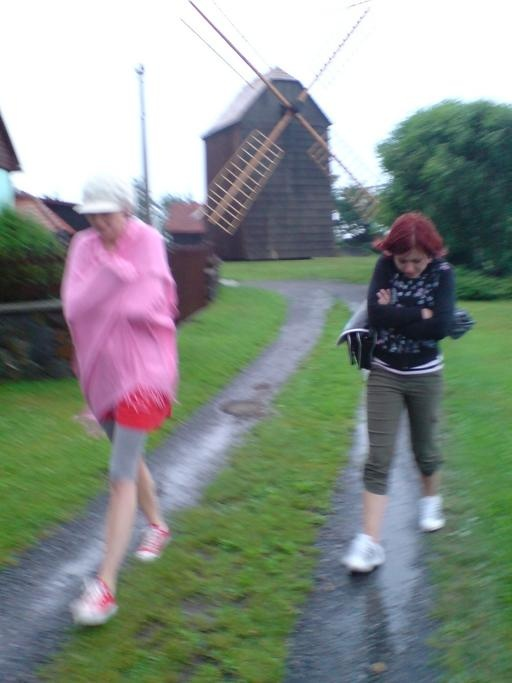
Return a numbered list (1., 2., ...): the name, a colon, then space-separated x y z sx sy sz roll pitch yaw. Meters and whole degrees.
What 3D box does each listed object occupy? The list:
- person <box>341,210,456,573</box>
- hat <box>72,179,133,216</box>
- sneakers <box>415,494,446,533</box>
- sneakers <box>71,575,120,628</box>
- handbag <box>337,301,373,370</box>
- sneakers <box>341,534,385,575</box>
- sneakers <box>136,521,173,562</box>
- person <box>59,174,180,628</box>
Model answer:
1. person: 0.672 0.236 2.754 0.441 1.643 0.538 1 11 19
2. hat: -0.595 -0.592 2.362 0.222 0.145 0.121 -5 10 -20
3. sneakers: 0.920 0.902 3.100 0.153 0.191 0.050 -1 -19 19
4. sneakers: -0.626 0.996 2.247 0.205 0.143 0.076 34 -4 -31
5. handbag: 0.513 -0.037 2.938 0.140 0.297 0.234 9 29 7
6. sneakers: 0.518 0.976 2.736 0.223 0.193 0.095 -4 10 -16
7. sneakers: -0.487 0.958 2.856 0.089 0.088 0.228 2 0 7
8. person: -0.547 0.197 2.439 0.471 1.733 0.682 -4 10 -8
